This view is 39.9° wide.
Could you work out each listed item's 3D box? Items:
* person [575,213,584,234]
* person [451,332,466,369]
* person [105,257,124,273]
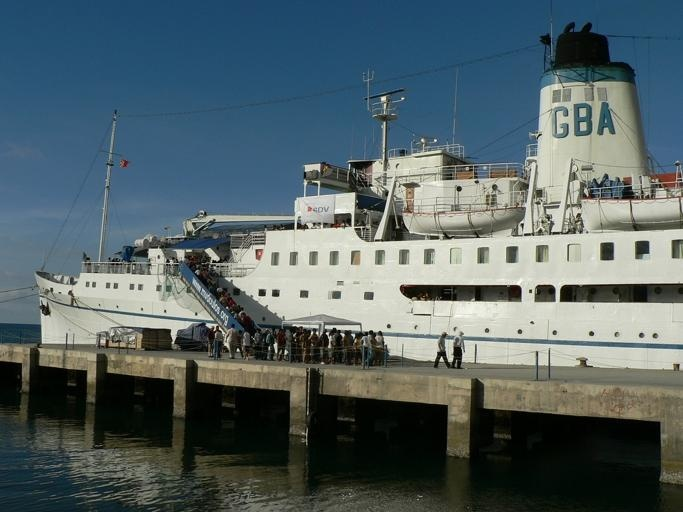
[{"bbox_3d":[11.356,-1.584,44.905,0.391,0.884,0.584,2,10,14],"label":"person"},{"bbox_3d":[5.011,4.203,40.829,0.465,1.555,1.406,1,9,6],"label":"person"},{"bbox_3d":[-12.579,0.611,52.222,0.761,0.882,0.926,8,-15,-39],"label":"person"}]
